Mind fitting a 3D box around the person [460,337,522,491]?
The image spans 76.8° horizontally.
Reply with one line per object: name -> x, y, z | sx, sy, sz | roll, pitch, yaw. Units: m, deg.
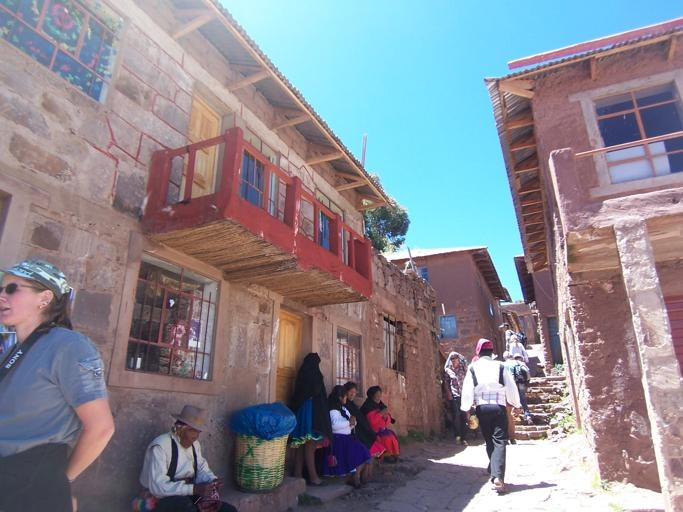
person -> 2.248, 2.322, 6.419 | 0.813, 2.105, 0.648 | -10, -14, 27

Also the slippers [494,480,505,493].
slippers -> 2.233, 3.243, 6.105 | 0.155, 0.197, 0.203 | -8, -13, 17

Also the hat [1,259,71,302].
hat -> -1.811, 0.177, 2.590 | 0.214, 0.158, 0.299 | 8, -24, 46

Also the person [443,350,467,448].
person -> 3.262, 3.871, 11.888 | 0.746, 2.559, 0.649 | -5, 10, 18

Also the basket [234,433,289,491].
basket -> -1.089, 2.807, 5.864 | 0.656, 0.541, 0.621 | -6, -27, 13

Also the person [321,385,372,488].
person -> 0.129, 2.898, 7.114 | 0.851, 1.479, 0.658 | -9, -12, 43

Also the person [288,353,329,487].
person -> -0.513, 2.587, 6.963 | 0.660, 1.971, 0.714 | -2, -12, -7
